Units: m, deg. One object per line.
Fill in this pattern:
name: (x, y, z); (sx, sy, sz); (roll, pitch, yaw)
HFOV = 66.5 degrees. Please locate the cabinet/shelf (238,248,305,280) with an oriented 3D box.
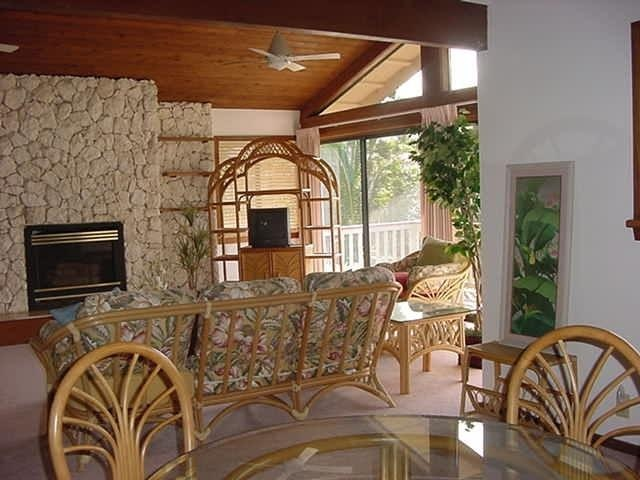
cabinet/shelf: (-0.587, 0.451, 7.081); (1.040, 0.647, 0.547); (-3, -3, 20)

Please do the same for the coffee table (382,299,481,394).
coffee table: (0.870, 0.847, 4.164); (0.771, 0.527, 0.695); (-1, 2, -27)

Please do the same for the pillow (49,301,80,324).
pillow: (-1.401, 0.401, 2.679); (0.164, 0.047, 0.159); (-15, 36, -22)

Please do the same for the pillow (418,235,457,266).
pillow: (1.377, 0.132, 5.705); (0.353, 0.363, 0.141); (-3, -34, 40)

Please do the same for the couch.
couch: (-0.552, 0.731, 3.143); (2.212, 0.873, 0.902); (-1, -4, -30)

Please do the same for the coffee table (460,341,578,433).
coffee table: (1.208, 0.897, 2.976); (0.367, 0.427, 0.589); (2, -6, -33)

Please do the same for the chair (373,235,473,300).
chair: (1.067, 0.446, 5.399); (0.864, 0.891, 0.856); (13, 5, 35)

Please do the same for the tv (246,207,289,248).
tv: (-0.735, -0.169, 6.875); (0.606, 0.533, 0.308); (0, 3, 6)
